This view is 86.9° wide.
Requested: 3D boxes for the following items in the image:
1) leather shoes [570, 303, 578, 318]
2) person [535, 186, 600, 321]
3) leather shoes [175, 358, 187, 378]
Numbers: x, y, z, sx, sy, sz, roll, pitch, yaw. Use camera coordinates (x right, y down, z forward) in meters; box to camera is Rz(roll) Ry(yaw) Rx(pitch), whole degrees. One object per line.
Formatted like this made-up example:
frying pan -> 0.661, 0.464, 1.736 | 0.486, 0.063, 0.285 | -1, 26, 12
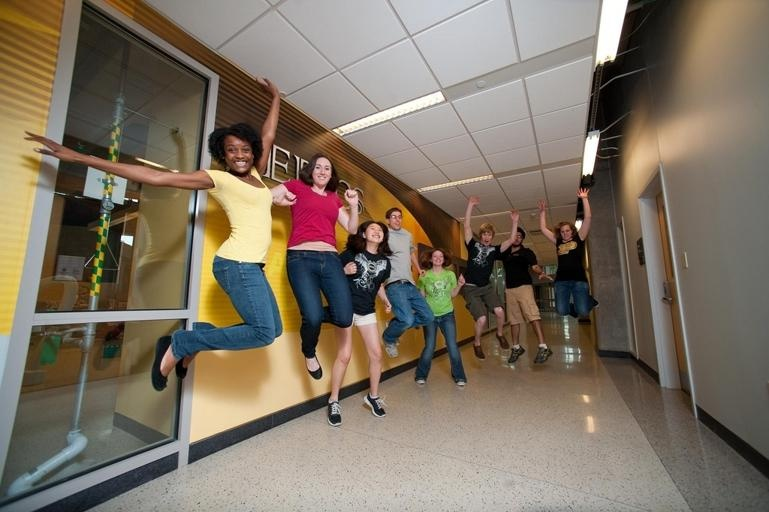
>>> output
leather shoes -> 2.560, 0.722, 5.411 | 0.045, 0.166, 0.122 | -15, 15, -2
person -> 2.438, -0.029, 5.397 | 0.586, 1.702, 0.726 | -7, 7, -42
leather shoes -> -1.507, 0.832, 3.000 | 0.067, 0.178, 0.049 | 5, 5, -44
